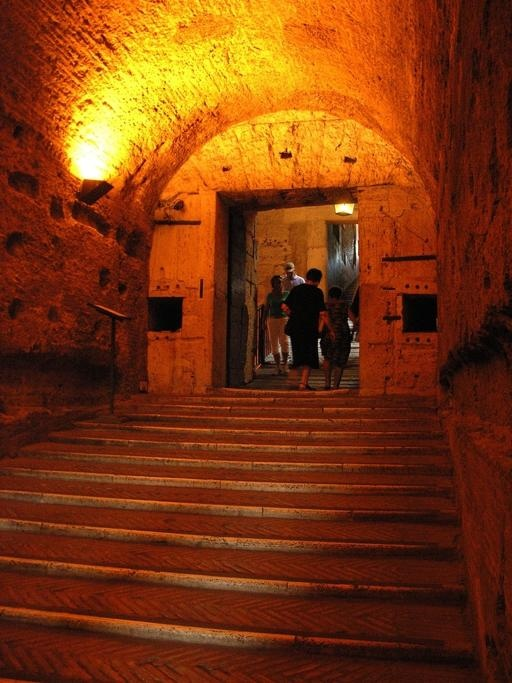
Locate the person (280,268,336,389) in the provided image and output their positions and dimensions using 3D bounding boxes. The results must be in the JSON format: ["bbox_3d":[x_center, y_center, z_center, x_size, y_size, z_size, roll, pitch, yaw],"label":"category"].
[{"bbox_3d":[0.579,-0.151,6.597,0.500,1.472,0.366,-1,-6,5],"label":"person"}]

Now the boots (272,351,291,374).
[{"bbox_3d":[0.427,0.410,9.626,0.220,0.502,0.452,1,-30,-3],"label":"boots"}]

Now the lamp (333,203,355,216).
[{"bbox_3d":[1.208,-1.857,7.568,0.226,0.134,0.365,-2,-6,16],"label":"lamp"}]
